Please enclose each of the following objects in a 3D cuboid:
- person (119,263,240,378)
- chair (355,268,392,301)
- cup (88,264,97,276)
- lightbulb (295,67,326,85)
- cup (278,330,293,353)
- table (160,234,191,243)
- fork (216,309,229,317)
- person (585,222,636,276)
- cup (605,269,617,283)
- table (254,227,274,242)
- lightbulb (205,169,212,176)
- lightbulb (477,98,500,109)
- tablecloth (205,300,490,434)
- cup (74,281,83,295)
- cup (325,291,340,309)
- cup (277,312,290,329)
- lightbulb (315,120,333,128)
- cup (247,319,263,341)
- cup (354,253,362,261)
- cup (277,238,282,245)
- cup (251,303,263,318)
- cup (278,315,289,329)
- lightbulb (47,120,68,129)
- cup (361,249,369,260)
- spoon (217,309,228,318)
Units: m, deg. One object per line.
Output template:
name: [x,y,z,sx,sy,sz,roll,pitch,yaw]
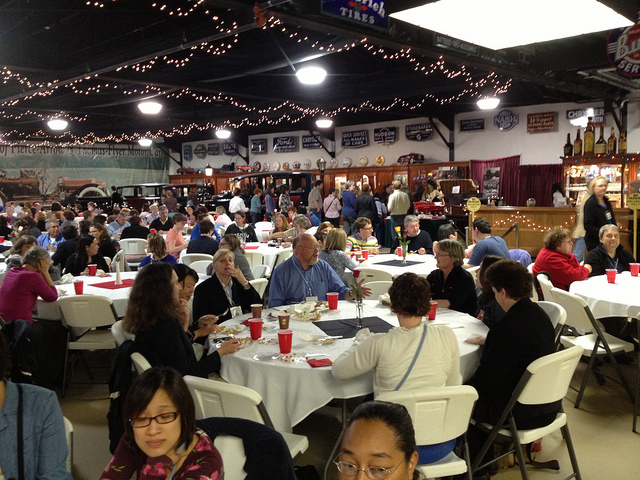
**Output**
person: [-1.064,0.632,3.674,0.574,0.926,0.440,-17,32,-28]
chair: [0.656,0.471,5.553,0.331,0.364,0.385,6,11,37]
cup: [-3.029,0.381,6.286,0.119,0.135,0.128,-1,-3,0]
lightbulb: [-0.180,-3.045,8.598,0.517,0.254,0.390,-3,5,-4]
cup: [-0.252,0.736,3.437,0.129,0.156,0.136,-1,-2,0]
table: [-2.623,-0.043,8.455,0.286,0.119,0.231,-4,1,19]
fork: [-0.952,0.720,4.643,0.160,0.022,0.029,-29,-25,-34]
person: [3.895,0.113,6.344,0.769,0.801,0.445,-2,-1,4]
cup: [3.242,0.391,5.242,0.130,0.147,0.126,0,-1,0]
table: [-1.399,-0.187,11.292,0.306,0.485,0.471,0,7,20]
lightbulb: [-5.858,-3.612,24.628,0.288,0.315,0.296,-5,9,-25]
lightbulb: [4.659,-3.825,13.052,0.523,0.244,0.752,-1,5,21]
tablecloth: [0.256,0.973,3.989,2.241,0.624,1.842,-6,5,-34]
cup: [-2.692,0.527,5.216,0.116,0.135,0.116,0,-3,0]
cup: [0.113,0.561,4.546,0.128,0.134,0.128,-3,-5,0]
cup: [-0.285,0.637,3.751,0.098,0.098,0.108,0,-4,-7]
lightbulb: [0.148,-3.957,15.803,0.410,0.226,0.572,-2,5,11]
cup: [-0.519,0.719,3.781,0.138,0.155,0.147,0,-3,0]
cup: [0.567,0.232,6.991,0.088,0.098,0.093,-1,-2,0]
cup: [-0.830,-0.002,9.545,0.089,0.099,0.071,3,9,14]
cup: [-0.541,0.591,3.991,0.098,0.088,0.108,0,-2,0]
cup: [-0.284,0.635,3.698,0.089,0.100,0.094,-1,-3,0]
lightbulb: [-7.943,-3.559,14.208,0.436,0.243,0.387,-5,5,-22]
cup: [0.694,0.200,7.106,0.118,0.141,0.118,-1,-6,0]
spoon: [-0.951,0.719,4.645,0.168,0.038,0.024,-25,38,-19]
